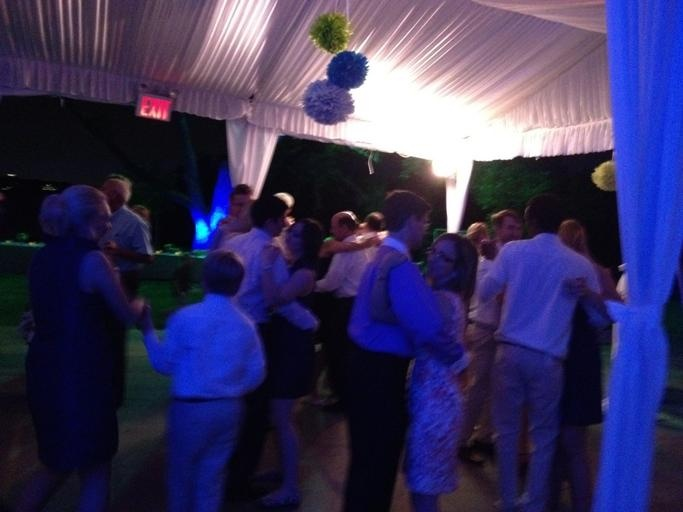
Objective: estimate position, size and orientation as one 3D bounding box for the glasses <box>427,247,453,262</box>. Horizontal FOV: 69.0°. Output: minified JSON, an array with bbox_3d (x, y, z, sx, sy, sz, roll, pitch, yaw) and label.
[{"bbox_3d":[0.553,-0.007,2.770,0.073,0.071,0.036,0,-29,38],"label":"glasses"}]
